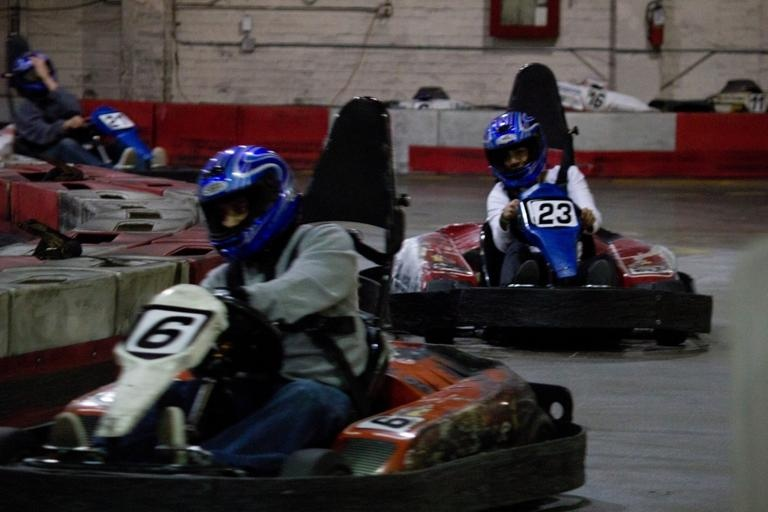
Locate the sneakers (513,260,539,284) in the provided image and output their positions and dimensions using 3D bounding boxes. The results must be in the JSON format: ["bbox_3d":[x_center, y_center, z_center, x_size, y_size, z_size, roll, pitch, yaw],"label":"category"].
[{"bbox_3d":[0.728,0.081,6.173,0.134,0.119,0.220,2,5,6],"label":"sneakers"}]

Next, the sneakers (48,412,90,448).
[{"bbox_3d":[-1.092,0.592,4.168,0.128,0.114,0.036,3,-10,-5],"label":"sneakers"}]

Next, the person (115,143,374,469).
[{"bbox_3d":[-0.450,0.170,4.323,0.753,1.116,0.607,2,6,5],"label":"person"}]

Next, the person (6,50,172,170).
[{"bbox_3d":[-2.099,-0.957,8.445,1.125,0.632,0.538,14,27,22],"label":"person"}]

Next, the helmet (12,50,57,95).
[{"bbox_3d":[-2.456,-1.250,8.440,0.305,0.310,0.287,-1,6,-18],"label":"helmet"}]

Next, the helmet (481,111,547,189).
[{"bbox_3d":[0.705,-0.560,6.476,0.335,0.409,0.271,2,6,5],"label":"helmet"}]

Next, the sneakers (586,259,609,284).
[{"bbox_3d":[1.093,0.080,6.137,0.116,0.124,0.119,2,6,8],"label":"sneakers"}]
